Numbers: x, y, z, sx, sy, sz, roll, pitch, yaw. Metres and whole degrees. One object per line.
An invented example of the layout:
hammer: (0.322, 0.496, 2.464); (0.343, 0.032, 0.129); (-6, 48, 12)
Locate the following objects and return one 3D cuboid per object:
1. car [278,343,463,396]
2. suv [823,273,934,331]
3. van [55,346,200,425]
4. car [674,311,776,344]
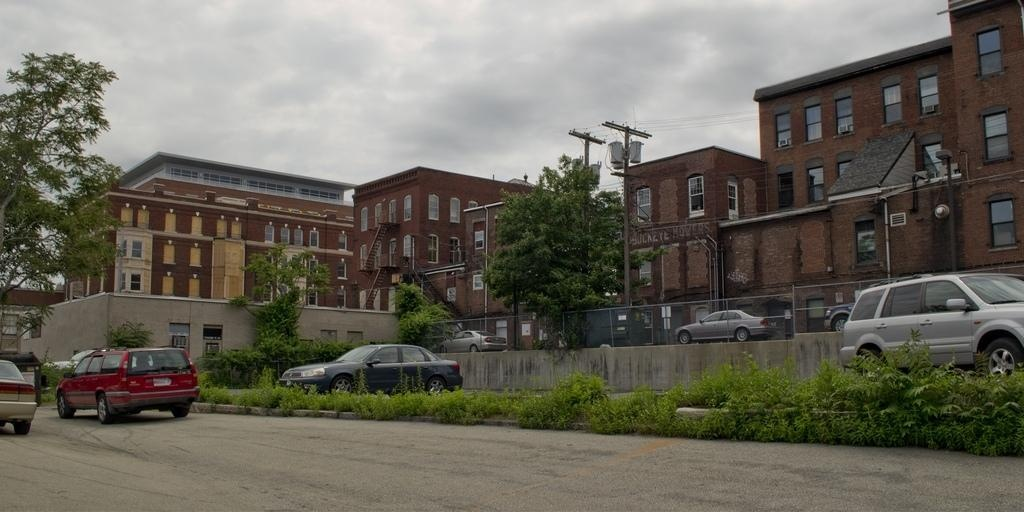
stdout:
car: (-7.141, 6.032, 52.925); (9.520, 2.476, 3.139); (1, -3, -31)
suv: (17.794, 2.371, 48.488); (3.488, 2.997, 9.411); (-2, -1, 37)
van: (-19.409, 6.583, 50.246); (6.583, 3.682, 2.327); (-5, -14, 18)
car: (10.991, 4.640, 60.236); (3.942, 2.358, 8.389); (-1, -2, -5)
